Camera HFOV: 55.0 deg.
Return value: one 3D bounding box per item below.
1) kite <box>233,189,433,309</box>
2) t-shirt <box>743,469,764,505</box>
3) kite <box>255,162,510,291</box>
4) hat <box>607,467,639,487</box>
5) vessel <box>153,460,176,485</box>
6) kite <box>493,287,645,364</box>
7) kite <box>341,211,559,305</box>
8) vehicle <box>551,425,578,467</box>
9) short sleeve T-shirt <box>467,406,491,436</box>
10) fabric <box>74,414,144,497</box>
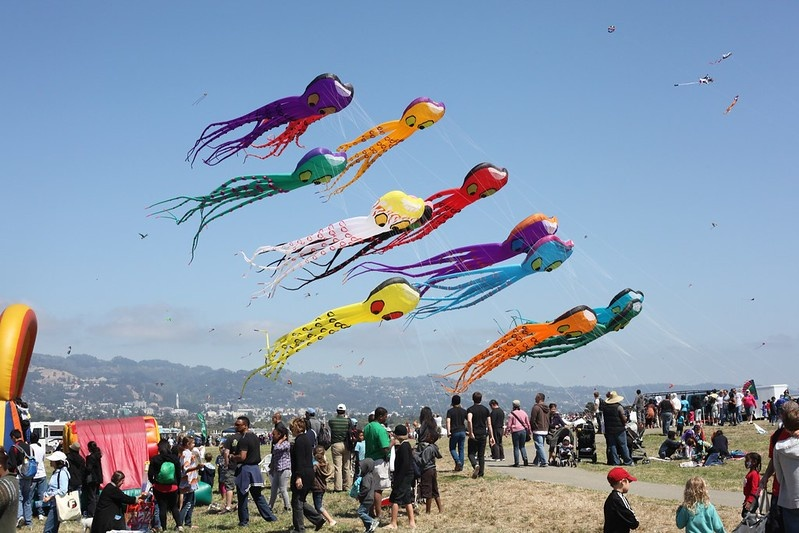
[{"bbox_3d":[-1.102,-0.572,20.374,5.381,1.526,1.214,-25,-52,-14],"label":"kite"},{"bbox_3d":[8.471,5.291,18.447,0.324,0.788,0.460,0,-5,24],"label":"t-shirt"},{"bbox_3d":[-0.408,-1.270,21.554,6.341,1.666,1.672,-23,-37,-14],"label":"kite"},{"bbox_3d":[5.048,4.732,17.445,0.690,0.406,0.459,-4,-6,-15],"label":"hat"},{"bbox_3d":[-6.185,5.463,20.365,0.513,0.629,0.193,4,-5,-23],"label":"vessel"},{"bbox_3d":[5.686,2.206,26.730,4.840,1.338,1.612,-22,-45,-15],"label":"kite"},{"bbox_3d":[1.289,-0.328,22.631,6.318,2.380,1.351,-12,-18,-12],"label":"kite"},{"bbox_3d":[5.480,6.019,25.698,0.859,1.455,0.850,4,-26,-8],"label":"vehicle"},{"bbox_3d":[2.468,4.816,23.966,0.919,1.046,0.424,-1,-3,-3],"label":"short sleeve T-shirt"},{"bbox_3d":[-9.670,6.419,26.177,2.489,2.494,2.349,5,-28,-29],"label":"fabric"}]
